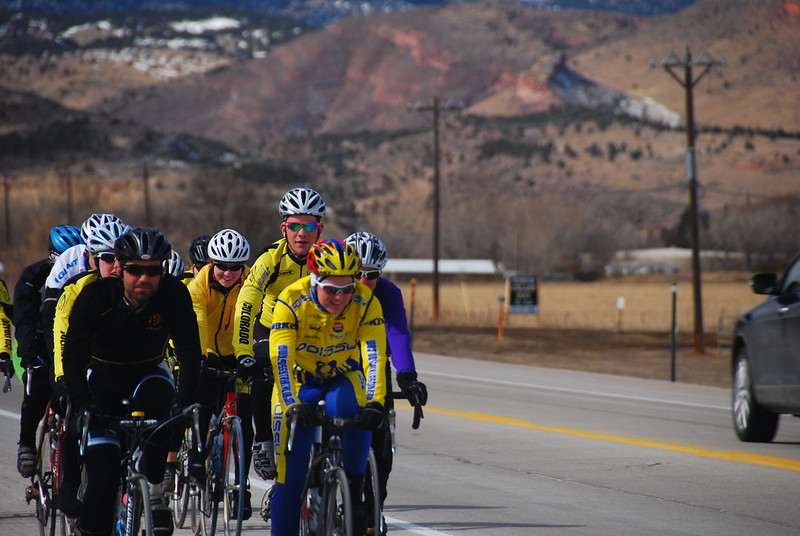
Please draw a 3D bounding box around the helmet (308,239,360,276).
[{"bbox_3d":[-1.030,-0.220,25.152,0.498,0.320,0.691,-3,25,-21],"label":"helmet"}]

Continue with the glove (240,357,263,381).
[{"bbox_3d":[-2.340,1.594,26.433,0.427,0.389,0.296,1,11,-5],"label":"glove"}]

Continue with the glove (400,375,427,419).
[{"bbox_3d":[0.206,1.957,25.506,0.400,0.715,0.565,1,11,-3],"label":"glove"}]

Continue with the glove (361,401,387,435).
[{"bbox_3d":[-0.366,2.212,25.025,0.325,0.392,0.422,-2,-6,0],"label":"glove"}]
